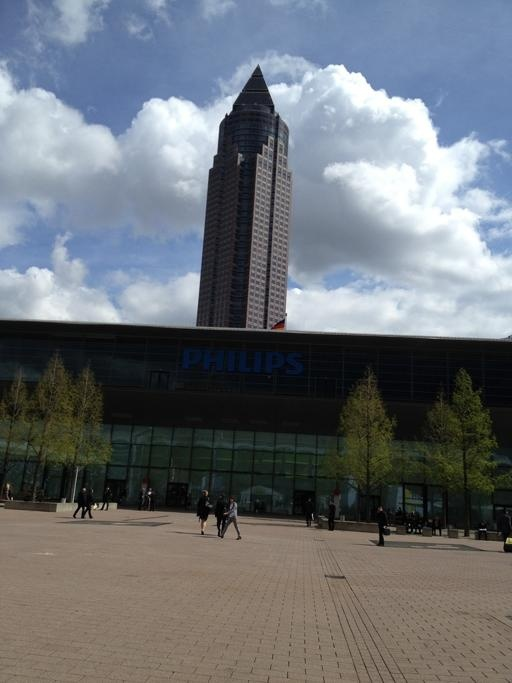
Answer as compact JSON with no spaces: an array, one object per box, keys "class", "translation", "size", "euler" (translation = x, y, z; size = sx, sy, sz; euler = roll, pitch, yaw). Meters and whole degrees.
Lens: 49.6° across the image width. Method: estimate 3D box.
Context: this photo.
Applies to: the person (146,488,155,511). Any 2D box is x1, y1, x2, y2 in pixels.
[{"class":"person","translation":[-7.109,10.715,37.218],"size":[0.524,1.181,2.430],"euler":[4,-13,-11]}]
